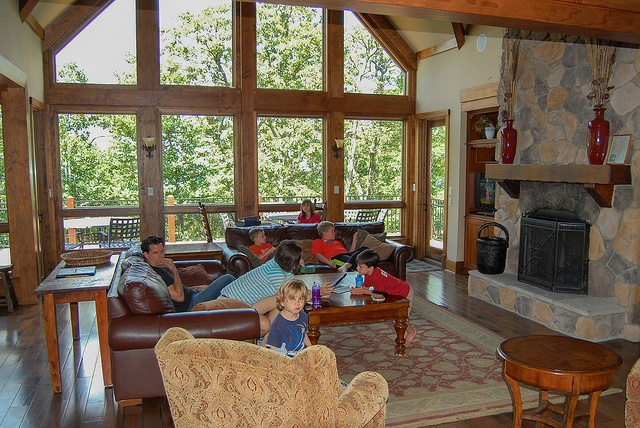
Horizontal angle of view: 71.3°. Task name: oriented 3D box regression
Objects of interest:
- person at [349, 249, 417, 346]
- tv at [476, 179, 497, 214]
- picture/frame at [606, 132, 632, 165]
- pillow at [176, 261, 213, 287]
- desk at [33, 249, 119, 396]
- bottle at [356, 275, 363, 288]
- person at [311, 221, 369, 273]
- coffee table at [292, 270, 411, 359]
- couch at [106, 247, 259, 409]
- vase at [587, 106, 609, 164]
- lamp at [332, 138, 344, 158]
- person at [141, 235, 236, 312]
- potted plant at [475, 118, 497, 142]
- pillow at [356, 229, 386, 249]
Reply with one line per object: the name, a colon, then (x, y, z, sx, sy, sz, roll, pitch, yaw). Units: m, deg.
person: (0.740, 0.977, 5.248, 0.767, 1.125, 0.489, -10, 6, -11)
tv: (2.953, -0.381, 8.175, 0.708, 0.648, 0.244, -1, 1, -37)
picture/frame: (3.604, -0.789, 5.382, 0.225, 0.349, 0.224, 10, 17, 36)
pillow: (-1.610, 0.790, 5.708, 0.295, 0.135, 0.291, -10, 47, -31)
desk: (-2.625, 1.212, 4.819, 0.536, 0.819, 1.288, -1, 6, -7)
bottle: (0.455, 0.786, 5.242, 0.111, 0.191, 0.112, 1, -4, 0)
person: (0.323, 0.469, 6.826, 0.641, 0.699, 0.978, -4, 3, -44)
coffee table: (0.395, 1.296, 5.165, 0.849, 0.563, 1.143, -2, 6, -15)
couch: (-1.688, 1.082, 5.260, 1.456, 1.097, 2.456, 0, 7, -23)
vase: (3.390, -0.964, 5.450, 0.206, 0.682, 0.204, -14, 19, -42)
lamp: (0.356, -1.348, 9.122, 0.225, 0.364, 0.088, -3, 15, -10)
person: (-1.547, 0.806, 5.015, 0.849, 0.653, 0.859, 10, 14, -38)
potted plant: (2.837, -1.474, 7.703, 0.379, 0.361, 0.360, 1, -1, -35)
pillow: (0.773, 0.410, 7.266, 0.315, 0.319, 0.146, -3, -5, 8)
